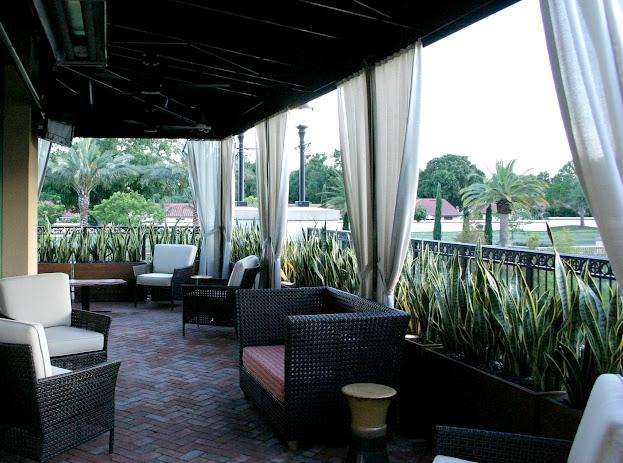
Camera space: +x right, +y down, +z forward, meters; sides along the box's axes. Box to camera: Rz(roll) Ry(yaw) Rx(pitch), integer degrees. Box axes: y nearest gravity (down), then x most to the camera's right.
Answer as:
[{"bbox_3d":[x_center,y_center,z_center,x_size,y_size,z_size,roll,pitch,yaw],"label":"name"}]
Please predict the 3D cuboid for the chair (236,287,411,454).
[{"bbox_3d":[0.068,0.987,3.767,0.994,1.060,1.412,4,-1,-24],"label":"chair"}]

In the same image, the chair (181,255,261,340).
[{"bbox_3d":[-1.235,0.803,6.131,1.053,1.274,0.866,2,-3,2],"label":"chair"}]
